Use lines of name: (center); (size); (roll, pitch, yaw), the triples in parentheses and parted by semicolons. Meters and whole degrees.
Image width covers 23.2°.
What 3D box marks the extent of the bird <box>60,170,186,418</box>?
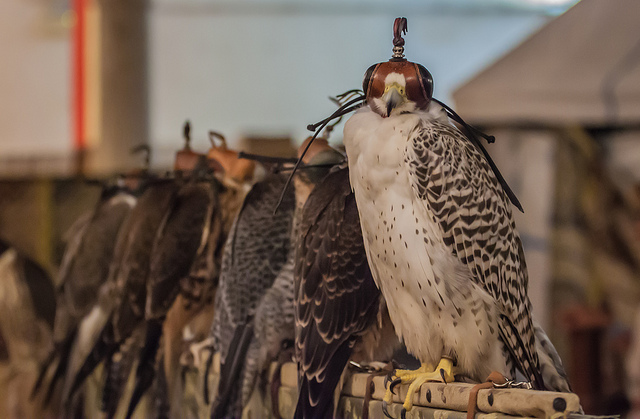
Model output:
bird: (-0.580, 0.298, 4.746); (0.225, 0.841, 0.261); (15, 3, 15)

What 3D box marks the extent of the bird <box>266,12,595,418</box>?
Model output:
bird: (0.315, 0.083, 4.476); (0.787, 1.046, 0.515); (11, -25, -23)

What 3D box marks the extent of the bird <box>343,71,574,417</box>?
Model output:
bird: (0.345, 0.101, 4.354); (0.518, 0.876, 0.406); (-4, -23, 9)

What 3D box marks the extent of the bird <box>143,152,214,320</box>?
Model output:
bird: (-0.416, 0.089, 4.682); (0.137, 0.518, 0.195); (19, 9, -3)

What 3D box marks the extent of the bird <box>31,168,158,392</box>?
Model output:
bird: (-0.692, 0.202, 4.800); (0.249, 0.819, 0.308); (14, -3, 31)
